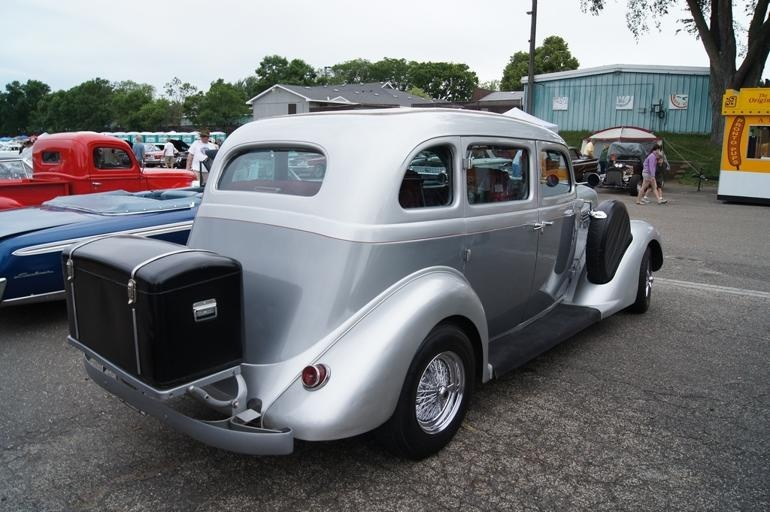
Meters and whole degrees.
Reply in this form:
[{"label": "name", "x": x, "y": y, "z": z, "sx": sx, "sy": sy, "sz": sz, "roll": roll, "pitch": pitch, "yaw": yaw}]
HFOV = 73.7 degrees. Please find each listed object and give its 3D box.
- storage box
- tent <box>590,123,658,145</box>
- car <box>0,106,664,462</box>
[{"label": "storage box", "x": -1.848, "y": 0.314, "z": 4.019, "sx": 1.375, "sy": 0.923, "sz": 0.825, "roll": 9, "pitch": 15, "yaw": 30}, {"label": "tent", "x": 10.581, "y": -5.384, "z": 22.831, "sx": 1.864, "sy": 0.537, "sz": 1.896, "roll": -5, "pitch": 10, "yaw": -21}, {"label": "car", "x": -0.016, "y": 0.066, "z": 4.766, "sx": 4.947, "sy": 2.792, "sz": 1.939, "roll": -9, "pitch": 14, "yaw": -37}]
